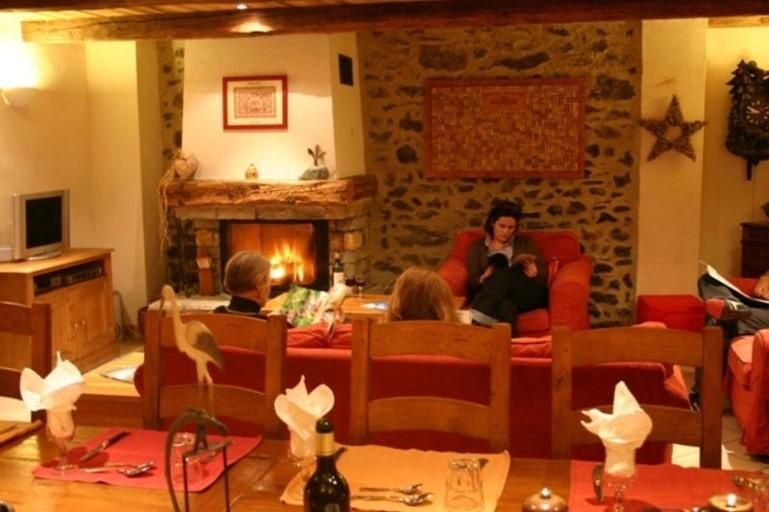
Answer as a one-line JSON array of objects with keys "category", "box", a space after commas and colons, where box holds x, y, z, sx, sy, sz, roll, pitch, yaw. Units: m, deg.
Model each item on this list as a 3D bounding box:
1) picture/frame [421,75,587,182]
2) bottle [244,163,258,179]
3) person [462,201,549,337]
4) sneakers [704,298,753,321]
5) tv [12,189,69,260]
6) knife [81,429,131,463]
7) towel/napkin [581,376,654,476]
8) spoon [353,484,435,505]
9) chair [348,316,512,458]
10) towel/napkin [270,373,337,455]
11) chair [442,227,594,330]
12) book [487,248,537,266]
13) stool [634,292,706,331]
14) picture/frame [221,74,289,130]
[{"category": "picture/frame", "box": [1.287, -1.338, 6.343, 1.249, 0.686, 0.085, 0, 4, 10]}, {"category": "bottle", "box": [-1.286, -0.819, 6.044, 0.150, 0.146, 0.142, 1, -3, -8]}, {"category": "person", "box": [1.090, 0.057, 5.430, 0.728, 1.040, 1.156, 0, 6, 7]}, {"category": "sneakers", "box": [2.400, 0.380, 4.336, 0.191, 0.069, 0.169, 3, 8, 1]}, {"category": "tv", "box": [-2.968, -0.266, 5.337, 0.169, 0.454, 0.631, 4, 6, 13]}, {"category": "knife", "box": [-0.997, 0.673, 2.246, 0.036, 0.028, 0.236, 21, 14, 12]}, {"category": "towel/napkin", "box": [0.686, 0.518, 1.877, 0.166, 0.247, 0.160, -2, 7, -11]}, {"category": "spoon", "box": [0.026, 0.757, 1.962, 0.181, 0.026, 0.083, -1, 7, 2]}, {"category": "chair", "box": [0.194, 0.457, 2.544, 0.562, 0.883, 0.528, 1, 6, 8]}, {"category": "towel/napkin", "box": [-0.236, 0.522, 2.060, 0.267, 0.276, 0.239, 1, 5, 9]}, {"category": "chair", "box": [1.279, 0.230, 5.627, 1.409, 0.953, 1.006, 0, 4, 26]}, {"category": "book", "box": [1.103, 0.029, 5.423, 0.229, 0.077, 0.218, 4, -11, -39]}, {"category": "stool", "box": [2.436, 0.473, 5.261, 0.420, 0.245, 0.282, 0, 2, -2]}, {"category": "picture/frame", "box": [-1.224, -1.509, 6.015, 0.619, 0.459, 0.047, 0, 5, 4]}]
